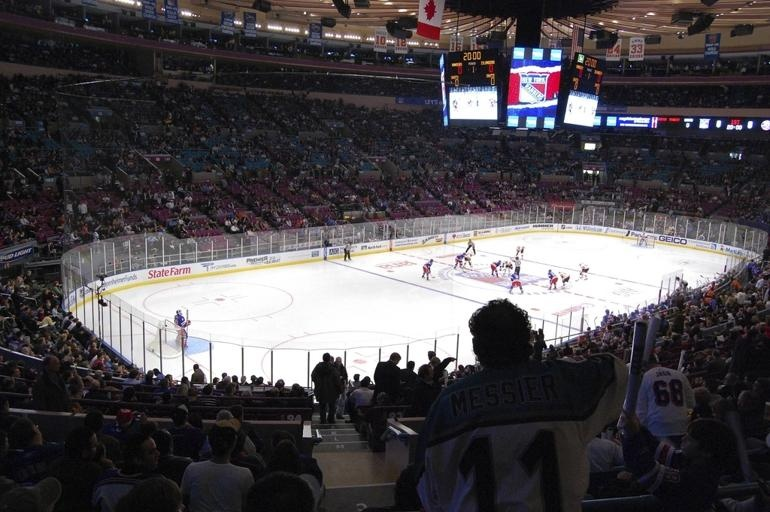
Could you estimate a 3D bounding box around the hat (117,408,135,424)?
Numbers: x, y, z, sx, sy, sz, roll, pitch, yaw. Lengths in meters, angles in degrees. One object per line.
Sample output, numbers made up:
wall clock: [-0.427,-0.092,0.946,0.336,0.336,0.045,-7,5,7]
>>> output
hat: [-4.750,2.892,13.061,0.290,0.232,0.311,3,0,-20]

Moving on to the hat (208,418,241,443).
hat: [-2.513,2.717,11.364,0.378,0.189,0.501,7,2,4]
